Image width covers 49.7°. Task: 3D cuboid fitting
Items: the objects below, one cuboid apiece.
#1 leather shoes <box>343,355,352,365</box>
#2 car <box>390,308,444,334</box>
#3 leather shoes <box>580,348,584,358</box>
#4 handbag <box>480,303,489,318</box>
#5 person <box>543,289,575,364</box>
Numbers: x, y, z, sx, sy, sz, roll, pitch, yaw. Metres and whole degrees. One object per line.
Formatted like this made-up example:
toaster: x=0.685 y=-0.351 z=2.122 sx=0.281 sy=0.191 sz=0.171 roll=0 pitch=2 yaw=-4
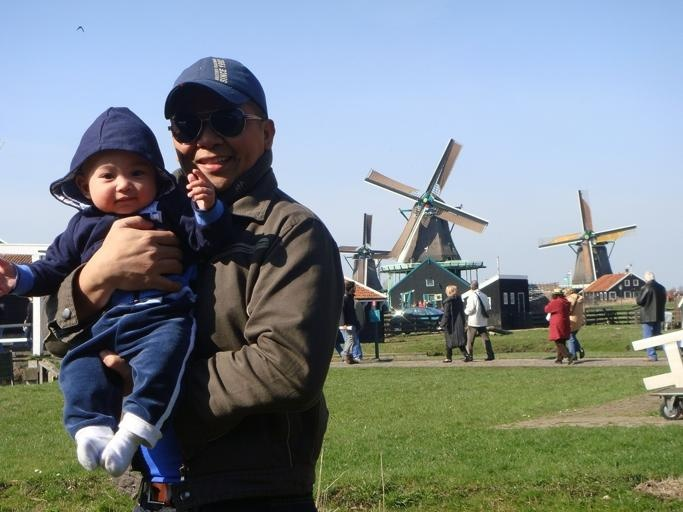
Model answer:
leather shoes: x=0.161 y=2.653 z=18.792 sx=0.254 sy=0.207 sz=0.362 roll=0 pitch=-21 yaw=2
car: x=4.255 y=3.859 z=41.700 sx=3.779 sy=1.143 sz=1.796 roll=1 pitch=-4 yaw=-5
leather shoes: x=6.036 y=2.457 z=18.531 sx=0.142 sy=0.197 sz=0.066 roll=-5 pitch=-2 yaw=-11
handbag: x=3.697 y=1.375 z=19.130 sx=0.111 sy=0.441 sz=0.431 roll=-1 pitch=-2 yaw=23
person: x=5.077 y=1.622 z=17.109 sx=0.613 sy=1.731 sz=0.756 roll=0 pitch=-2 yaw=8
